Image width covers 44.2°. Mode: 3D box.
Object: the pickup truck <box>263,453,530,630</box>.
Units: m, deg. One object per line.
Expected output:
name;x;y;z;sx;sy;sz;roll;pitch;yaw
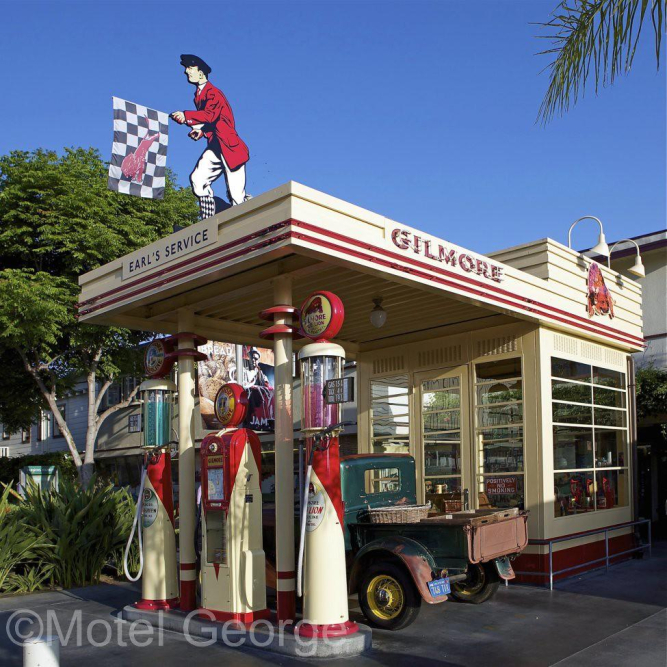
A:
pickup truck;0.591;2.470;10.156;3.244;1.954;2.232;-10;-12;42
